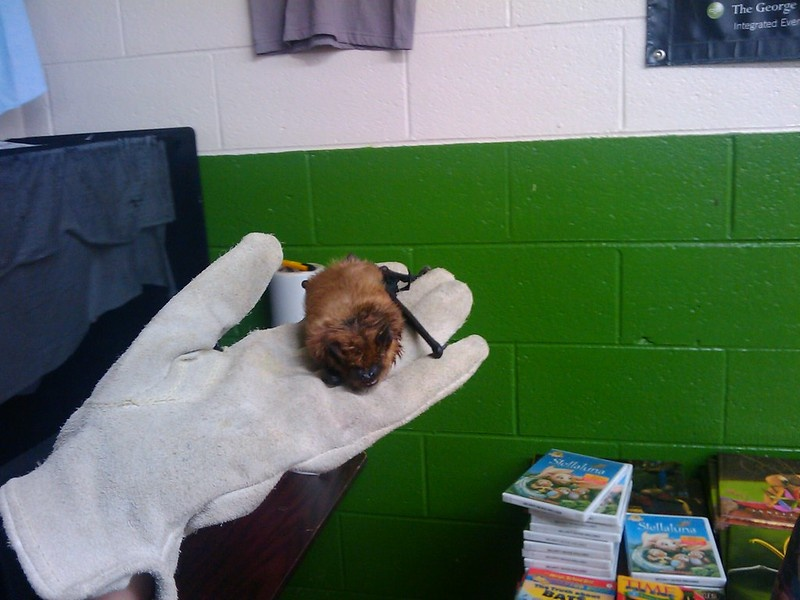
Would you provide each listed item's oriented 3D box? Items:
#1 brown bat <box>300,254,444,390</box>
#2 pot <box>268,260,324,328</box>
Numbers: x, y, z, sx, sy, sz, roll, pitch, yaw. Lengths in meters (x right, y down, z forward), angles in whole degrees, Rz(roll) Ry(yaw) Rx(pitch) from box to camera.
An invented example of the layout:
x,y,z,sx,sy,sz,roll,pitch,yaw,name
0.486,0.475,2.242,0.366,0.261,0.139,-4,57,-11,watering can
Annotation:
x,y,z,sx,sy,sz,roll,pitch,yaw,name
-0.080,0.079,1.887,0.348,0.141,0.349,-28,42,10,brown bat
-0.363,-0.023,2.329,0.258,0.209,0.215,0,14,0,pot
